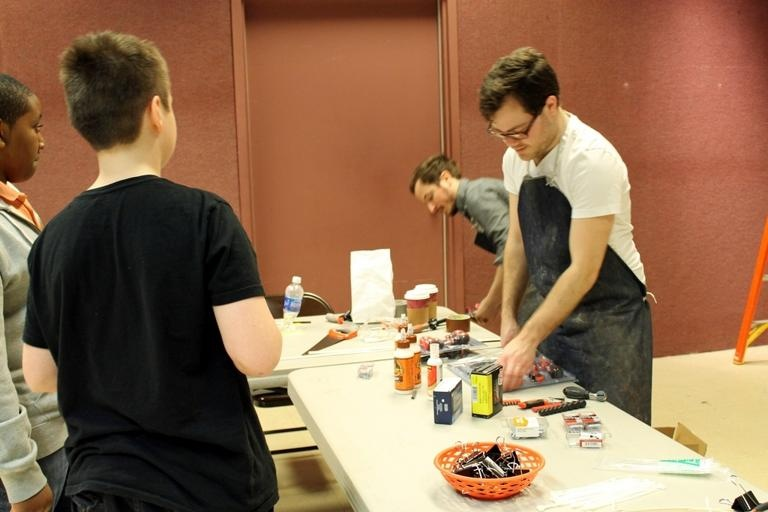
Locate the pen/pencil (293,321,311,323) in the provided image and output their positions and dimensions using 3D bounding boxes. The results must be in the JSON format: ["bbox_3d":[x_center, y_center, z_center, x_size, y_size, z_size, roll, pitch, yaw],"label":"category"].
[{"bbox_3d":[-0.450,0.354,3.597,0.092,0.015,0.013,0,-32,11],"label":"pen/pencil"}]

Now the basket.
[{"bbox_3d":[0.332,0.670,2.100,0.340,0.129,0.206,-4,11,7],"label":"basket"}]

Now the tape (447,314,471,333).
[{"bbox_3d":[0.354,0.324,3.225,0.088,0.051,0.086,-1,3,-5],"label":"tape"}]

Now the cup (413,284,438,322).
[{"bbox_3d":[0.269,0.239,3.536,0.165,0.189,0.162,0,4,0],"label":"cup"}]

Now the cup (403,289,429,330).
[{"bbox_3d":[0.170,0.273,3.382,0.176,0.234,0.173,0,3,0],"label":"cup"}]
